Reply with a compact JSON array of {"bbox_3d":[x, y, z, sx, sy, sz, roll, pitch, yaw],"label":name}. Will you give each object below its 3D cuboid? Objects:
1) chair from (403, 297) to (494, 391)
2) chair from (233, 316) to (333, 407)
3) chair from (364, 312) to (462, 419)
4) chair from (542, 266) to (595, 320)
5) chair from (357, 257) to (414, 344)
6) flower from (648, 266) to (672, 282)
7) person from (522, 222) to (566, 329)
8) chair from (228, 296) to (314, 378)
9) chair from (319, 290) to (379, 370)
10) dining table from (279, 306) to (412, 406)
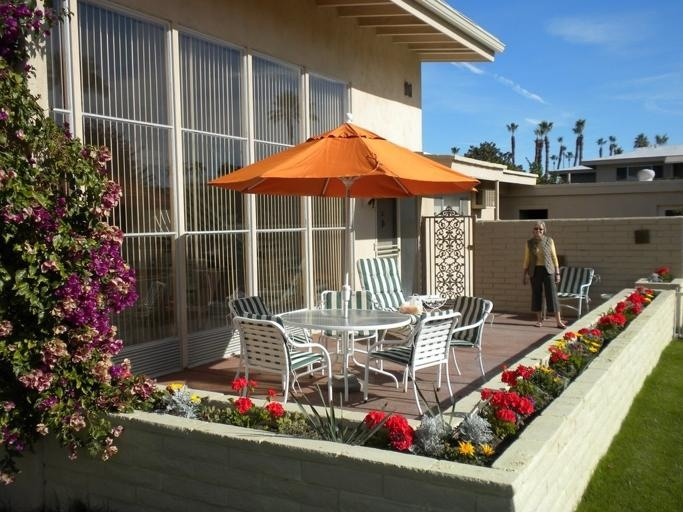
[{"bbox_3d":[1.365,1.031,8.164,0.884,1.087,0.919,6,-1,12],"label":"chair"},{"bbox_3d":[-0.509,1.090,7.248,0.811,1.158,1.146,4,6,37],"label":"chair"},{"bbox_3d":[0.771,1.081,7.144,0.894,1.033,0.915,4,4,21],"label":"chair"},{"bbox_3d":[4.347,0.733,12.349,0.854,1.261,1.083,1,3,38],"label":"chair"},{"bbox_3d":[0.841,0.560,10.314,0.740,0.914,1.134,-2,4,-27],"label":"chair"},{"bbox_3d":[5.749,0.365,11.927,0.330,0.238,0.353,-5,7,-14],"label":"flower"},{"bbox_3d":[3.462,0.359,11.331,0.617,1.827,0.557,1,4,13],"label":"person"},{"bbox_3d":[-0.673,1.078,7.104,0.569,0.931,0.830,-1,-4,31],"label":"chair"},{"bbox_3d":[0.113,1.017,9.054,0.829,1.321,0.893,0,-3,-5],"label":"chair"},{"bbox_3d":[0.002,1.203,7.505,1.060,0.755,1.112,-2,8,-20],"label":"dining table"}]
